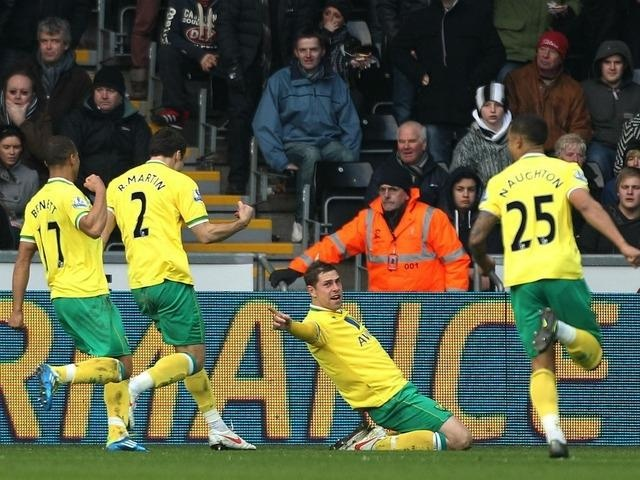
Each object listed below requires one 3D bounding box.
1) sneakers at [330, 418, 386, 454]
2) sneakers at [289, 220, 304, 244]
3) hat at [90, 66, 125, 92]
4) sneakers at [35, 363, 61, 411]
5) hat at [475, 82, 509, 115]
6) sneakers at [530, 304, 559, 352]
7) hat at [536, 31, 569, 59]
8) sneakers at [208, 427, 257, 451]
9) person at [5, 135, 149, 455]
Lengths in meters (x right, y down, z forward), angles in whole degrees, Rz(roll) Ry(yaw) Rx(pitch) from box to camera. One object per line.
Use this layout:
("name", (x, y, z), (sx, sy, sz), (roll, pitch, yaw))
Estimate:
("sneakers", (0.363, 1.865, 16.881), (0.319, 0.122, 0.296), (-33, 6, 2))
("sneakers", (-0.257, -0.066, 19.823), (0.164, 0.340, 0.276), (1, -7, 0))
("hat", (-2.302, -1.760, 19.740), (0.392, 0.304, 0.236), (-4, 7, -31))
("sneakers", (-2.476, 1.258, 16.319), (0.147, 0.218, 0.433), (8, 8, -20))
("hat", (1.916, -1.546, 19.881), (0.286, 0.329, 0.360), (2, -11, 0))
("sneakers", (1.975, 0.807, 15.796), (0.207, 0.424, 0.182), (0, 6, 7))
("hat", (2.601, -2.188, 20.075), (0.231, 0.258, 0.318), (23, 5, 18))
("sneakers", (-0.846, 1.882, 16.979), (0.493, 0.240, 0.180), (3, -7, -11))
("person", (-2.257, 0.469, 16.649), (1.394, 2.831, 0.890), (6, 8, 44))
